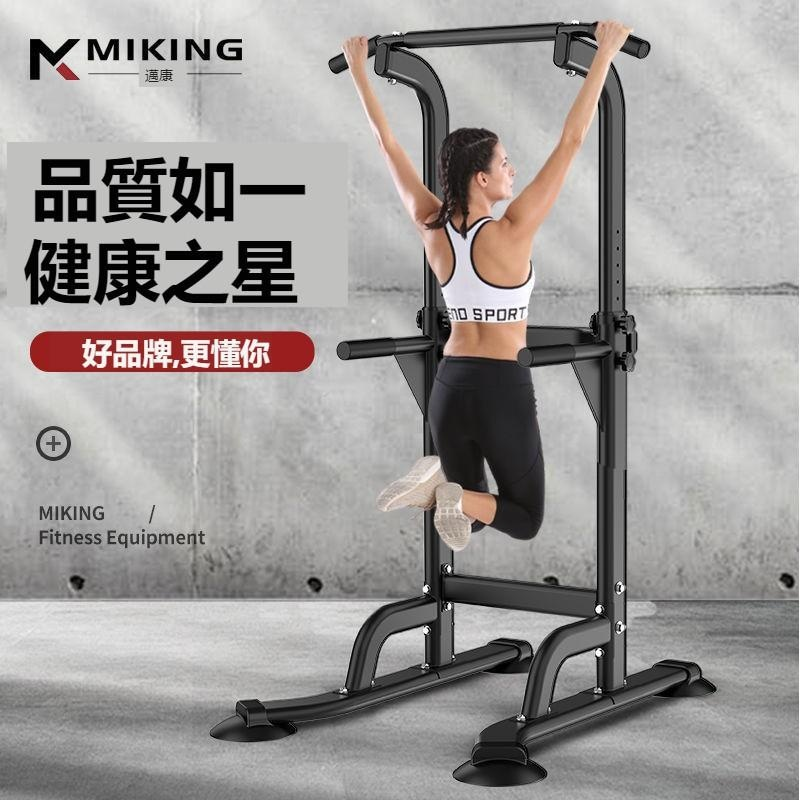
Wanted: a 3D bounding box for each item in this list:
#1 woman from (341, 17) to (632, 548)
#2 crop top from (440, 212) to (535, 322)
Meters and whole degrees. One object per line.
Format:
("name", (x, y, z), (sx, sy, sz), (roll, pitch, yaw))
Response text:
("woman", (0.271, -0.354, 3.177), (0.634, 1.405, 0.820), (0, 25, -6))
("crop top", (0.251, -0.362, 3.167), (0.267, 0.309, 0.146), (5, 25, 5))
